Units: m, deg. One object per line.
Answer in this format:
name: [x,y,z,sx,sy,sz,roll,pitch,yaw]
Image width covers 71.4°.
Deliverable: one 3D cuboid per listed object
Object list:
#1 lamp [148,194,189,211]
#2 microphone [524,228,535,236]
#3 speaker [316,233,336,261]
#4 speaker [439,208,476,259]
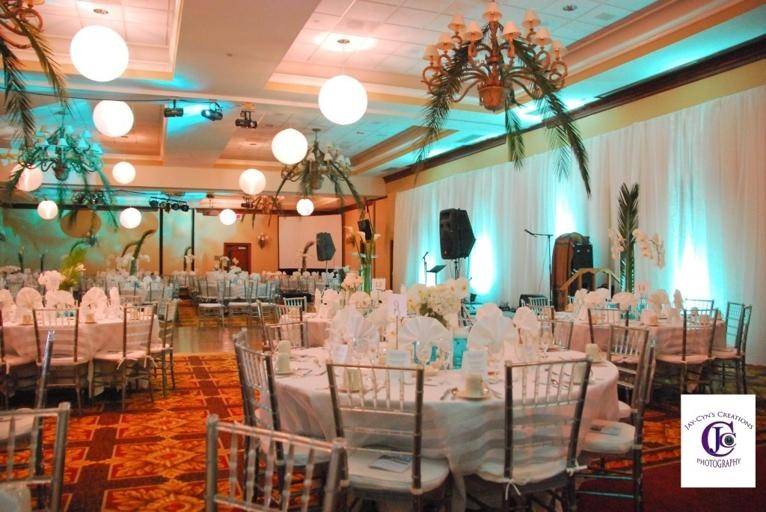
lamp: [-7.941,-1.934,19.770,1.277,0.506,0.958,0,3,-38]
microphone: [3.292,-0.516,11.932,0.215,0.053,0.213,21,-5,-22]
speaker: [-2.044,-0.374,18.743,0.530,1.051,1.473,1,-4,-9]
speaker: [1.812,-0.539,13.128,0.802,1.268,0.497,0,-3,8]
